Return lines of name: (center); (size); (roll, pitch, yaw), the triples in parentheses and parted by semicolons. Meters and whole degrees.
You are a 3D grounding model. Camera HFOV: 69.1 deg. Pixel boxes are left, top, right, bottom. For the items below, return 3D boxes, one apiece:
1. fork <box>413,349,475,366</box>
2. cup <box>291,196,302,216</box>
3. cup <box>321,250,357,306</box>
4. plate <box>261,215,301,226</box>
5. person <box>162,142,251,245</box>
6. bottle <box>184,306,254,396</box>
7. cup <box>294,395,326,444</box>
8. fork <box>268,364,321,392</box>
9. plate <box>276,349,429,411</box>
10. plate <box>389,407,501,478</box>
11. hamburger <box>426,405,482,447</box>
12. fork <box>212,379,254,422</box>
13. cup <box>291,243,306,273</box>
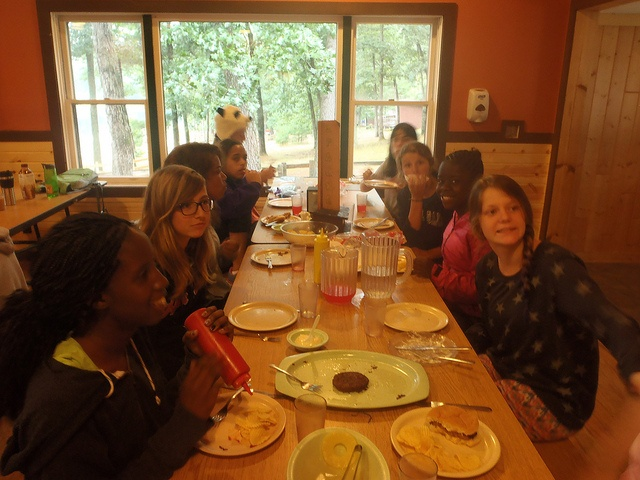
fork: (0.457, 0.445, 1.774); (0.119, 0.019, 0.083); (3, 9, 23)
cup: (-0.184, -0.276, 3.594); (0.116, 0.194, 0.119); (0, 7, 0)
cup: (0.078, 0.164, 2.114); (0.180, 0.237, 0.218); (0, 13, -1)
plate: (-0.316, -0.152, 3.437); (0.149, 0.042, 0.144); (-4, 13, -13)
person: (-0.834, -0.400, 3.443); (0.700, 0.748, 0.446); (-10, 13, -21)
bottle: (-0.384, 0.372, 1.603); (0.392, 0.121, 0.115); (48, 37, 19)
cup: (-0.032, 0.526, 1.405); (0.111, 0.144, 0.122); (0, 4, 0)
fork: (-0.094, 0.490, 1.641); (0.148, 0.018, 0.027); (22, 39, 39)
plate: (0.120, 0.500, 1.677); (0.341, 0.041, 0.233); (2, 26, 4)
plate: (0.380, 0.621, 1.422); (0.323, 0.082, 0.196); (5, 19, 19)
hamburger: (0.417, 0.572, 1.456); (0.093, 0.048, 0.123); (-24, 35, -39)
fork: (-0.273, 0.528, 1.582); (0.050, 0.045, 0.262); (6, 25, 23)
cup: (-0.117, 0.092, 2.459); (0.120, 0.181, 0.116); (1, 12, 0)
